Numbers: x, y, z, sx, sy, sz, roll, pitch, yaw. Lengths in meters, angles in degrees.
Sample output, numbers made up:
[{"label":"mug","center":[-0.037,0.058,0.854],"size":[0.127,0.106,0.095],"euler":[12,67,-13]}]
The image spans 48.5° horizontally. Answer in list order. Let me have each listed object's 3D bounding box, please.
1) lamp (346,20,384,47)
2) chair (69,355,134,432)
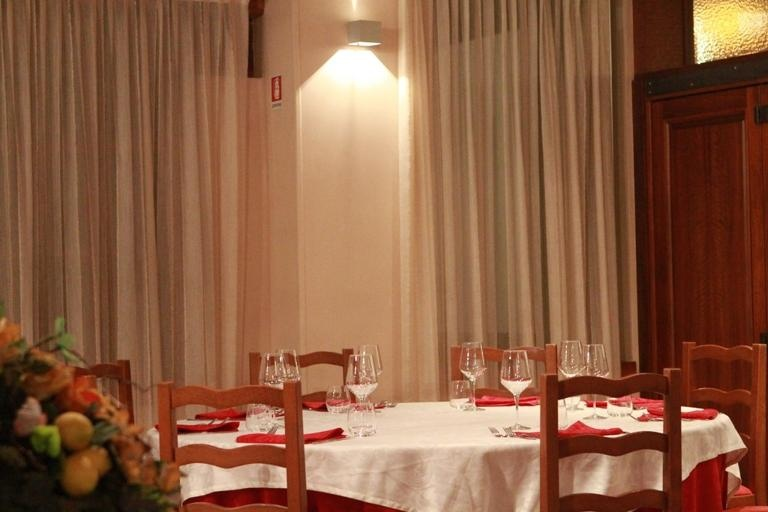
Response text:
[{"label":"lamp","center":[-0.118,-1.389,5.342],"size":[0.251,0.147,0.166],"euler":[3,-5,-21]},{"label":"chair","center":[-1.375,0.731,4.196],"size":[0.270,0.357,0.268],"euler":[-13,16,-35]}]
